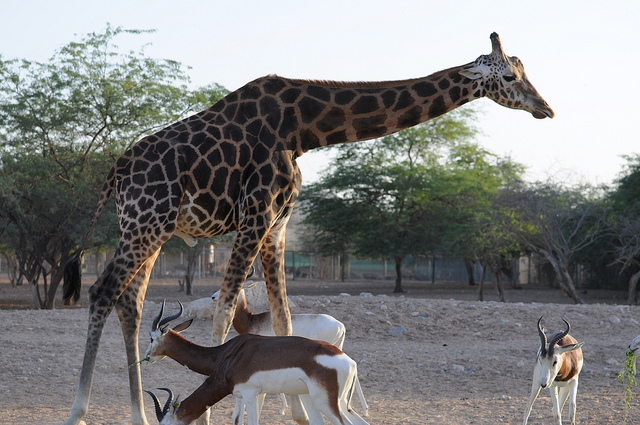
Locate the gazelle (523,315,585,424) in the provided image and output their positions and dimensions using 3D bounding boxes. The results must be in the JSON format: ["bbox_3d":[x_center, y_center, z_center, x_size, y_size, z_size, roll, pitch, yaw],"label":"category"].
[{"bbox_3d":[5.920,3.933,21.713,1.002,2.293,3.034,-1,-3,25],"label":"gazelle"}]
